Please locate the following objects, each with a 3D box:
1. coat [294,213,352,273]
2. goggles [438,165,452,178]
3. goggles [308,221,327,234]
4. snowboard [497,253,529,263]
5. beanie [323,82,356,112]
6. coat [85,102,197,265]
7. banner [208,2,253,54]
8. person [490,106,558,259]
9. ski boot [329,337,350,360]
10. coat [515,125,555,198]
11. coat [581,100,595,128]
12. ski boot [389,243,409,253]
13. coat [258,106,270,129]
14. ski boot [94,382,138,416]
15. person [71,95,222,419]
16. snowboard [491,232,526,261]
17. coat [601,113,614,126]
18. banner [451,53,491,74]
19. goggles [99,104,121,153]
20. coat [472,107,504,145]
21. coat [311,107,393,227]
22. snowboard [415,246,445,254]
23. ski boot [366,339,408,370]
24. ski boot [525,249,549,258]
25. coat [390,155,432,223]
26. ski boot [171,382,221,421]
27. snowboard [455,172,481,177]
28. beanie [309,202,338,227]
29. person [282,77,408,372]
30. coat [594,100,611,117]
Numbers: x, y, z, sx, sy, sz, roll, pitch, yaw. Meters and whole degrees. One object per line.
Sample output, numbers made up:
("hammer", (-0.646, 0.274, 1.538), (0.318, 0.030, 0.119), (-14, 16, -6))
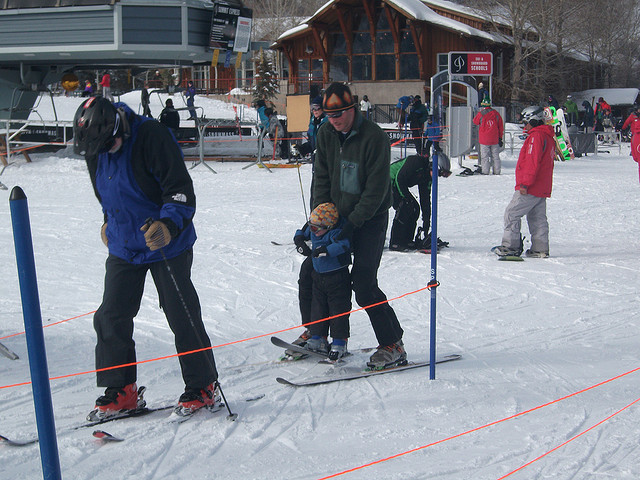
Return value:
("coat", (0.010, 0.028, 4.976), (0.434, 0.439, 0.309), (-1, 7, 36))
("goggles", (1.577, -0.860, 8.357), (0.139, 0.073, 0.199), (20, 11, -10))
("goggles", (-0.036, -0.098, 4.935), (0.092, 0.052, 0.082), (1, 13, -24))
("snowboard", (2.340, 0.205, 8.045), (0.318, 0.093, 0.208), (5, 11, 17))
("beanie", (0.138, -1.035, 4.810), (0.234, 0.208, 0.214), (2, 10, 1))
("coat", (-1.105, -0.337, 4.030), (0.691, 0.972, 0.261), (5, 10, 23))
("banner", (-2.333, -5.341, 16.621), (0.184, 1.275, 1.395), (25, 12, 38))
("person", (2.553, -0.711, 8.125), (0.744, 1.845, 0.513), (1, 9, -3))
("ski boot", (0.144, 0.815, 5.098), (0.087, 0.155, 0.195), (7, 11, 33))
("coat", (2.632, -0.962, 8.027), (0.436, 0.866, 0.431), (4, 9, 15))
("coat", (9.898, -4.613, 24.250), (0.380, 0.940, 0.953), (5, 10, 23))
("ski boot", (1.042, 0.089, 8.776), (0.182, 0.067, 0.133), (9, 10, 37))
("coat", (-1.480, -3.141, 16.790), (0.234, 0.506, 0.391), (-11, -5, 4))
("ski boot", (-1.290, 0.976, 4.179), (0.099, 0.254, 0.297), (-9, 0, 35))
("person", (-1.063, 0.136, 4.059), (0.843, 1.981, 0.464), (-1, 9, -12))
("snowboard", (2.366, 0.062, 8.179), (0.409, 0.309, 0.387), (2, 10, 1))
("coat", (10.814, -4.505, 24.761), (0.478, 0.670, 0.689), (0, 3, 26))
("banner", (3.641, -4.207, 15.797), (1.161, 0.513, 0.297), (-5, 11, -31))
("goggles", (-1.222, -0.645, 3.847), (0.166, 0.229, 0.123), (22, 18, 15))
("coat", (4.085, -2.756, 16.074), (0.893, 1.067, 0.754), (2, 15, 13))
("coat", (0.218, -0.553, 4.909), (0.607, 0.841, 0.399), (3, 9, 11))
("snowboard", (1.416, 0.134, 8.551), (0.361, 0.090, 0.368), (4, 11, 13))
("ski boot", (0.524, 0.842, 5.022), (0.137, 0.249, 0.398), (-14, -8, 42))
("ski boot", (2.679, 0.149, 8.164), (0.097, 0.114, 0.237), (-4, 6, -34))
("coat", (1.192, -0.653, 8.496), (0.611, 0.874, 0.429), (-1, 9, -16))
("ski boot", (-0.795, 1.011, 4.322), (0.133, 0.190, 0.413), (-6, 9, 39))
("snowboard", (3.655, -1.629, 16.374), (0.329, 0.117, 0.236), (-1, 9, -10))
("beanie", (0.018, -0.205, 5.001), (0.189, 0.169, 0.140), (13, 4, -15))
("person", (0.258, -0.134, 5.235), (0.947, 2.154, 0.954), (2, 9, 5))
("coat", (10.628, -4.945, 24.877), (0.887, 0.530, 0.482), (-6, 12, -38))
